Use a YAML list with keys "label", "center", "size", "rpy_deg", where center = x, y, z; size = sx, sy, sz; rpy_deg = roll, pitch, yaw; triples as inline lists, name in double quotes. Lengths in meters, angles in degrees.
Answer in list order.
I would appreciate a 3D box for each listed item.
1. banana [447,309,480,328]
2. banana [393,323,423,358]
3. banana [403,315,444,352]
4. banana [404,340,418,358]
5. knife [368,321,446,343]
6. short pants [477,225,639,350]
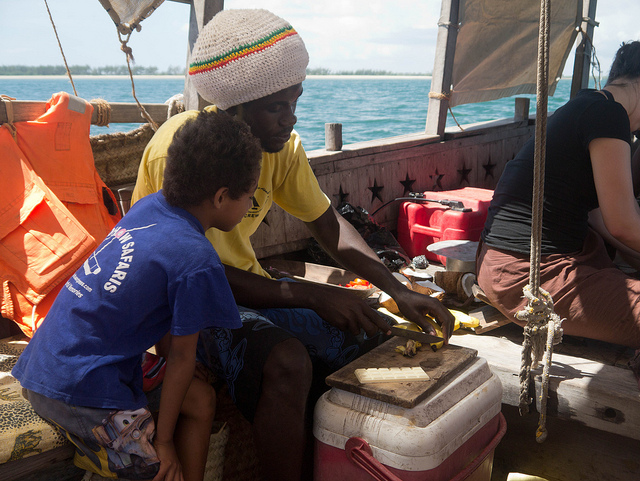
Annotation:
- label: "banana"
  center: [0.919, 0.501, 2.929]
  size: [0.193, 0.049, 0.094]
  rpy_deg: [27, 19, 29]
- label: "banana"
  center: [0.415, 0.493, 2.184]
  size: [0.136, 0.106, 0.054]
  rpy_deg: [15, 17, 39]
- label: "banana"
  center: [0.505, 0.453, 2.186]
  size: [0.205, 0.059, 0.043]
  rpy_deg: [30, 73, 41]
- label: "banana"
  center: [0.415, 0.497, 2.068]
  size: [0.049, 0.025, 0.061]
  rpy_deg: [37, 27, 10]
- label: "knife"
  center: [0.423, 0.451, 2.214]
  size: [0.433, 0.063, 0.039]
  rpy_deg: [11, 23, 30]
- label: "short pants"
  center: [1.429, 0.187, 2.659]
  size: [0.970, 0.583, 0.332]
  rpy_deg: [22, 75, 24]
